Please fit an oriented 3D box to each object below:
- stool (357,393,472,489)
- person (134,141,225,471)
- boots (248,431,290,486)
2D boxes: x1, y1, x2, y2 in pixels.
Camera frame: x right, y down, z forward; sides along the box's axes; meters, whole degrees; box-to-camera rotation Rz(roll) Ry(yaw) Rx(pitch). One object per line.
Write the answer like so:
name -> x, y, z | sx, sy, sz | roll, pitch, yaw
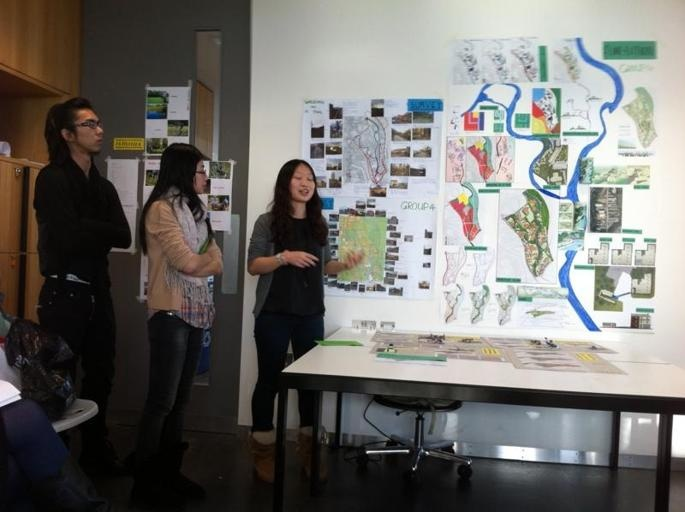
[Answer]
stool -> 0.472, 1.269, 3.849 | 0.595, 0.361, 0.600 | 0, -9, 3
person -> -0.994, 0.298, 3.369 | 0.531, 1.924, 0.356 | -3, 9, -31
boots -> -0.479, 1.268, 3.642 | 0.196, 0.401, 0.169 | -8, -2, -27
